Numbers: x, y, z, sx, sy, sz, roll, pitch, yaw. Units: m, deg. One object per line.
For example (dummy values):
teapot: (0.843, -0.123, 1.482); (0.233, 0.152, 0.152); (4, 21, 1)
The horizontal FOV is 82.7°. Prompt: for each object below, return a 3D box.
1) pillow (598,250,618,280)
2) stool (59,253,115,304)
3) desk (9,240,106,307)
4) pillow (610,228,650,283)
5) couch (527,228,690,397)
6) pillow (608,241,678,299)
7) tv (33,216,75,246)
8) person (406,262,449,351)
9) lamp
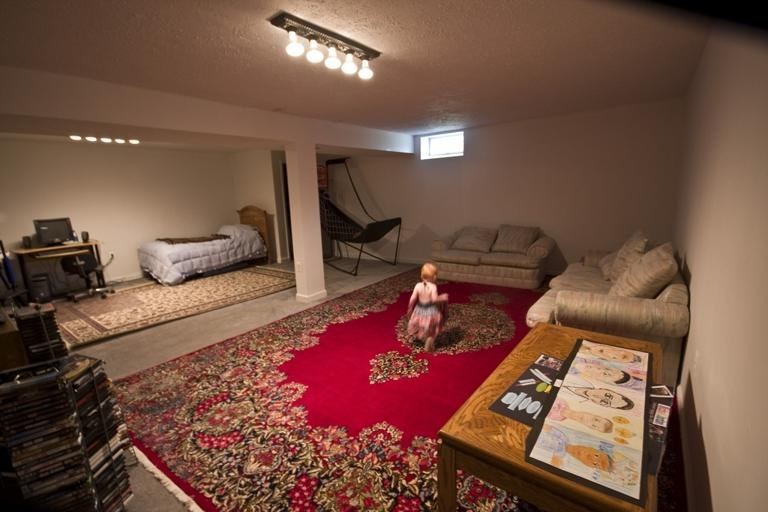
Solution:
pillow: (2.696, 0.118, 5.245); (0.092, 0.286, 0.304); (29, 56, 9)
stool: (-4.594, 0.302, 6.767); (0.769, 0.687, 0.788); (5, 15, 20)
desk: (-4.977, 0.259, 6.577); (0.483, 0.701, 0.901); (8, 18, 42)
pillow: (2.667, -0.009, 4.696); (0.366, 0.546, 0.619); (11, 15, 27)
couch: (1.982, 0.459, 3.769); (0.725, 0.595, 1.583); (5, 15, 25)
pillow: (2.359, 0.116, 3.842); (0.178, 0.555, 0.597); (35, 7, 5)
tv: (-5.184, -0.384, 6.805); (0.230, 0.406, 0.442); (-1, 11, 39)
person: (0.441, 0.549, 4.545); (0.411, 0.832, 0.401); (7, 14, 34)
lamp: (-0.451, -1.681, 3.476); (0.186, 0.262, 1.084); (-23, -14, 39)
